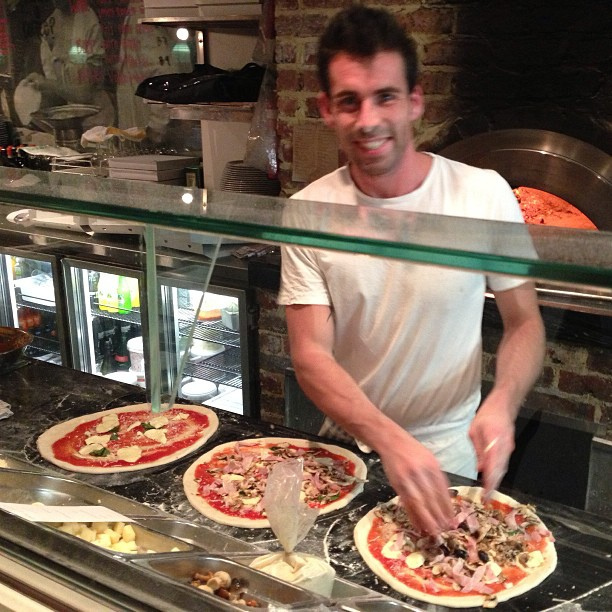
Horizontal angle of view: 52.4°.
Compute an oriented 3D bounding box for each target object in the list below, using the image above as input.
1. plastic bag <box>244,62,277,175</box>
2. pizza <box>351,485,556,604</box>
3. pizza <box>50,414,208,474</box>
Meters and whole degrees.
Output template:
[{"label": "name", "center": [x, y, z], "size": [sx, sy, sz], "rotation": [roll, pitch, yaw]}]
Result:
[{"label": "plastic bag", "center": [-0.174, -0.719, 2.392], "size": [0.126, 0.415, 0.139], "rotation": [-1, 20, -4]}, {"label": "pizza", "center": [0.188, 0.284, 0.757], "size": [0.187, 0.017, 0.149], "rotation": [-4, 14, -5]}, {"label": "pizza", "center": [-0.304, 0.234, 1.064], "size": [0.241, 0.040, 0.167], "rotation": [2, 14, 4]}]
